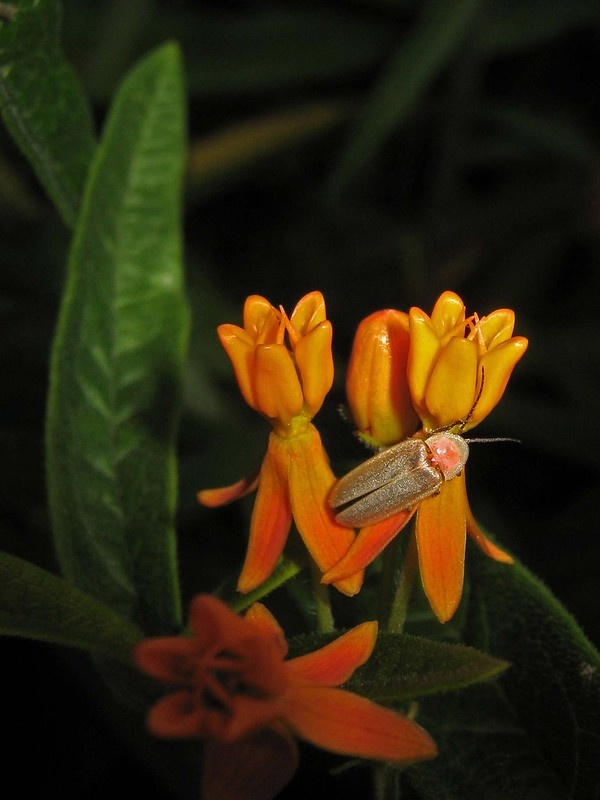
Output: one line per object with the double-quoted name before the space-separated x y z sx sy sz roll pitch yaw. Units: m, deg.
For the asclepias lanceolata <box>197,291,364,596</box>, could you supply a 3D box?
"asclepias lanceolata" 0.002 0.026 0.469 0.076 0.151 0.073 5 27 24
